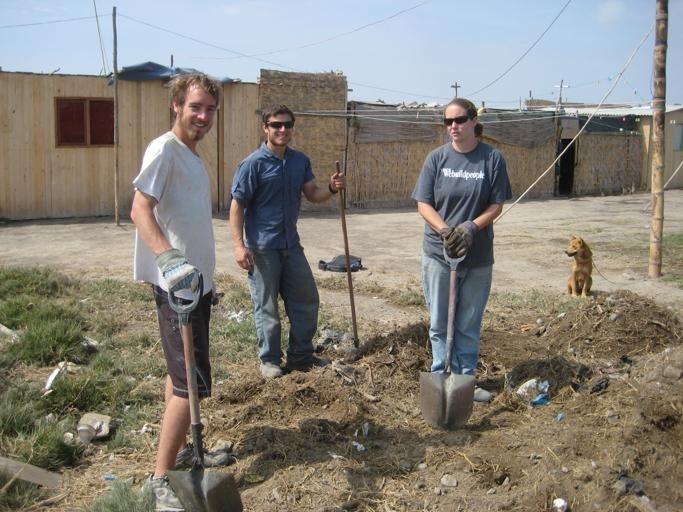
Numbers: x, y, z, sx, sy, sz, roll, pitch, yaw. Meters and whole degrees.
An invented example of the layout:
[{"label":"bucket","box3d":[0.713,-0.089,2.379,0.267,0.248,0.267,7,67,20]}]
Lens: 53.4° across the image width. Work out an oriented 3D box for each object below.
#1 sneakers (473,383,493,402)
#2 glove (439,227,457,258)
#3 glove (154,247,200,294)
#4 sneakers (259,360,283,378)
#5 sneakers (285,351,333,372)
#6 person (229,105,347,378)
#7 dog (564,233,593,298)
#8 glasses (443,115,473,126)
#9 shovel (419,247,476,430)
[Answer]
[{"label":"sneakers","box3d":[1.245,1.220,6.090,0.115,0.138,0.329,-5,-9,-8]},{"label":"glove","box3d":[0.882,-0.127,5.669,0.082,0.207,0.148,-7,-19,14]},{"label":"glove","box3d":[-1.119,0.089,4.601,0.254,0.142,0.318,-25,52,-31]},{"label":"sneakers","box3d":[-0.683,1.085,6.565,0.221,0.107,0.281,-1,9,-6]},{"label":"sneakers","box3d":[-0.330,1.032,6.738,0.468,0.224,0.177,-4,8,-11]},{"label":"person","box3d":[-0.607,-0.174,6.621,0.910,2.568,0.553,-3,9,-17]},{"label":"dog","box3d":[3.244,0.117,9.285,0.334,0.780,0.531,3,10,21]},{"label":"glasses","box3d":[1.000,-1.179,5.865,0.231,0.084,0.123,2,9,13]},{"label":"shovel","box3d":[0.906,0.709,5.567,0.405,1.363,0.452,6,11,35]}]
